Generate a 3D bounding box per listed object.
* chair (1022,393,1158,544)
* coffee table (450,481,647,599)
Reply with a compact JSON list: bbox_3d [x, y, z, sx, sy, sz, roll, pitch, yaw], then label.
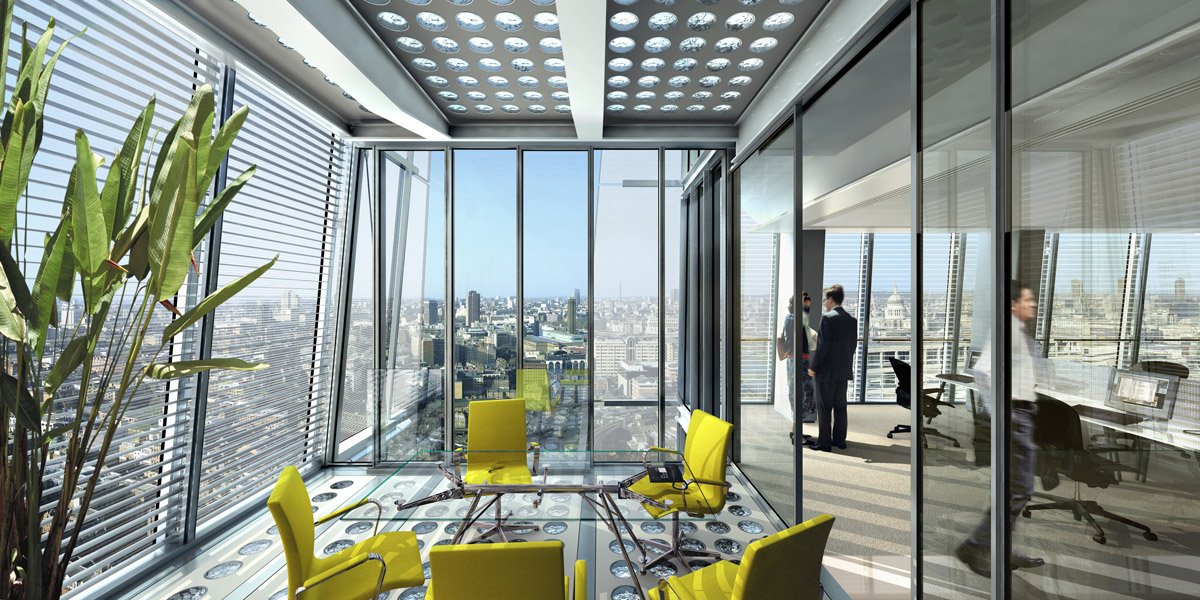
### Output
[{"bbox_3d":[3.353,1.103,4.471,0.981,0.907,0.957,1,-7,0],"label":"chair"},{"bbox_3d":[-0.447,2.342,5.908,2.588,1.073,0.994,-1,-11,5],"label":"coffee table"}]
